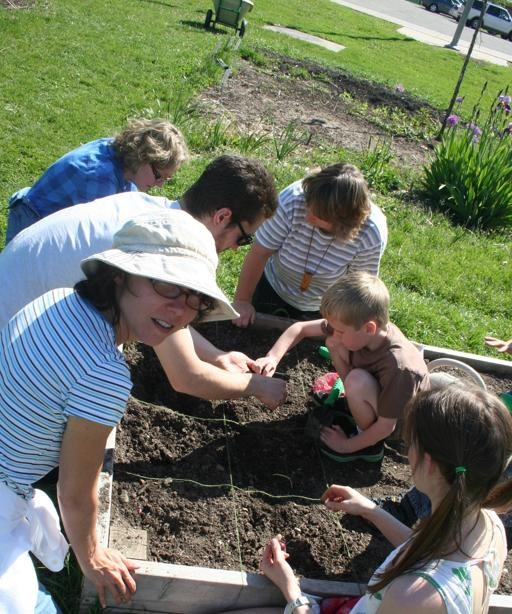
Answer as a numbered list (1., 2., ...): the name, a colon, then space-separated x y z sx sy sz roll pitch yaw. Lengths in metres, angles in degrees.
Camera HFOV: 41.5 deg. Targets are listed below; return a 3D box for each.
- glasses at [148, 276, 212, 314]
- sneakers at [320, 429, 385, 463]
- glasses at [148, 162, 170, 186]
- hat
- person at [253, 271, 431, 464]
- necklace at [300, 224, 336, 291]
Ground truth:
1. glasses: -0.221 -0.026 2.130 0.237 0.119 0.064 -1 32 -32
2. sneakers: 0.498 0.677 3.251 0.349 0.126 0.121 3 30 -13
3. glasses: -0.538 -0.729 3.757 0.078 0.024 0.078 49 10 10
4. hat: -0.274 -0.156 2.135 0.369 0.191 0.351 21 -8 27
5. person: 0.433 0.242 3.282 0.869 0.839 0.673 25 38 38
6. necklace: 0.340 -0.272 3.896 0.121 0.382 0.017 26 31 2
